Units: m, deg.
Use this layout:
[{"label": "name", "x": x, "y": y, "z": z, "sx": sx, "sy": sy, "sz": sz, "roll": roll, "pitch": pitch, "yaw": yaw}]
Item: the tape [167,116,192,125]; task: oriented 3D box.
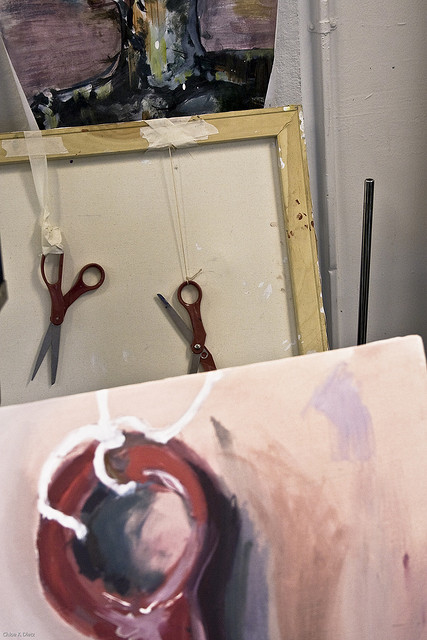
[{"label": "tape", "x": -0.047, "y": -0.288, "z": 0.826, "sx": 0.035, "sy": 0.009, "sz": 0.014, "roll": -10, "pitch": 32, "yaw": 0}]

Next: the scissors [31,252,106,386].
[{"label": "scissors", "x": -0.221, "y": 0.005, "z": 0.820, "sx": 0.094, "sy": 0.199, "sz": 0.016, "roll": 14, "pitch": -7, "yaw": -12}]

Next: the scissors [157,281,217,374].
[{"label": "scissors", "x": -0.028, "y": 0.032, "z": 0.846, "sx": 0.069, "sy": 0.185, "sz": 0.019, "roll": -26, "pitch": 21, "yaw": -30}]

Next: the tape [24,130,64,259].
[{"label": "tape", "x": -0.246, "y": -0.176, "z": 0.815, "sx": 0.038, "sy": 0.162, "sz": 0.080, "roll": -8, "pitch": 33, "yaw": 5}]
